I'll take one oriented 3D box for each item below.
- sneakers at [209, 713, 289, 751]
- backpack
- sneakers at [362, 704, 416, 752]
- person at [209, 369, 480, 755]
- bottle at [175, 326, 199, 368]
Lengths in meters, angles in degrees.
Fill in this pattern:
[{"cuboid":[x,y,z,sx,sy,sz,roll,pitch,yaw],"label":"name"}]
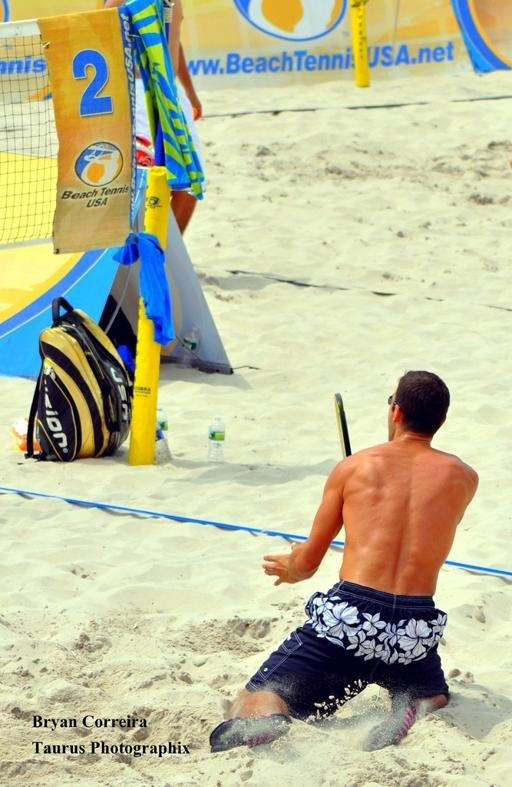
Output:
[{"cuboid":[-0.024,0.913,2.560,0.236,0.083,0.096,-9,-13,12],"label":"sneakers"},{"cuboid":[-0.980,-0.072,5.176,0.393,0.900,0.594,5,9,32],"label":"backpack"},{"cuboid":[0.393,0.979,2.730,0.063,0.065,0.254,19,18,25],"label":"sneakers"},{"cuboid":[0.248,0.577,2.736,0.804,0.849,0.359,-2,8,-19],"label":"person"},{"cuboid":[-0.518,-0.346,7.177,0.114,0.261,0.194,9,3,-30],"label":"bottle"}]
